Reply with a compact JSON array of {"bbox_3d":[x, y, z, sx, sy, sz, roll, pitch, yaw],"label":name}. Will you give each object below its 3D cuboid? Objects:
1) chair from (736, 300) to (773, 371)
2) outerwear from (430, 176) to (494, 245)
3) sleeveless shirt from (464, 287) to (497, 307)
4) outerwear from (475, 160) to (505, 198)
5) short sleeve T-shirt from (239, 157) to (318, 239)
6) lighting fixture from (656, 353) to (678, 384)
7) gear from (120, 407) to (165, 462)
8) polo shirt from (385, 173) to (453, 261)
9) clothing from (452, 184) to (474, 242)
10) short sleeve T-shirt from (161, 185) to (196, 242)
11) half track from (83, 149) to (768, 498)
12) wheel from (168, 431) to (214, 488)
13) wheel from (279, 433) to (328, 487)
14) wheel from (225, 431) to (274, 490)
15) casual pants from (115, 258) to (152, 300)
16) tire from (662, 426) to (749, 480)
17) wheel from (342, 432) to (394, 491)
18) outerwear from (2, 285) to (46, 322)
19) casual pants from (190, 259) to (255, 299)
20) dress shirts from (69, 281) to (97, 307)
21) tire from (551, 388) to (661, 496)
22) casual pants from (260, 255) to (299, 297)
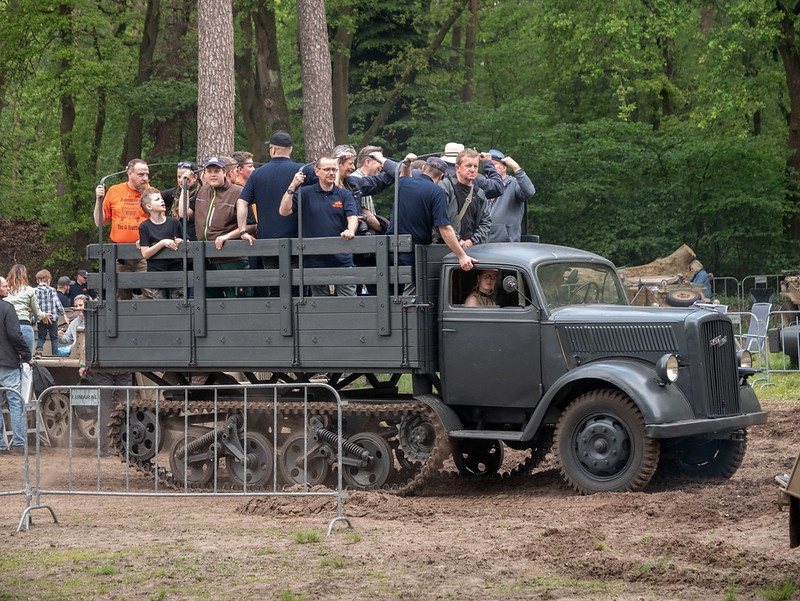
[{"bbox_3d":[7.627,0.801,29.154,0.917,0.998,0.903,-5,1,-16],"label":"chair"},{"bbox_3d":[0.868,-1.349,22.650,0.973,1.063,0.639,3,3,-12],"label":"outerwear"},{"bbox_3d":[1.109,-0.021,21.912,0.415,0.222,0.397,-3,40,-20],"label":"sleeveless shirt"},{"bbox_3d":[1.286,-1.875,23.213,0.230,0.580,0.582,-5,1,11],"label":"outerwear"},{"bbox_3d":[-2.414,-1.399,22.545,1.153,1.478,0.532,-1,-21,3],"label":"short sleeve T-shirt"},{"bbox_3d":[4.108,0.971,21.006,0.454,0.419,0.182,-7,11,-26],"label":"lighting fixture"},{"bbox_3d":[-4.810,2.043,23.069,0.849,1.013,0.265,4,3,8],"label":"gear"},{"bbox_3d":[0.104,-1.180,21.980,1.072,1.188,0.541,7,13,21],"label":"polo shirt"},{"bbox_3d":[0.852,-1.314,22.467,0.198,0.810,0.443,3,-2,22],"label":"clothing"},{"bbox_3d":[-4.271,-1.364,23.689,0.839,0.870,0.328,4,-6,-5],"label":"short sleeve T-shirt"},{"bbox_3d":[-0.162,0.445,23.478,10.711,5.318,5.014,-1,0,25],"label":"half track"},{"bbox_3d":[-3.886,2.443,22.853,0.820,0.979,0.218,2,6,14],"label":"wheel"},{"bbox_3d":[-1.860,2.376,22.296,0.813,0.846,0.290,1,3,20],"label":"wheel"},{"bbox_3d":[-2.854,2.418,22.570,0.917,1.010,0.434,0,3,21],"label":"wheel"},{"bbox_3d":[-5.203,-0.349,23.342,0.548,0.598,0.925,6,3,-3],"label":"casual pants"},{"bbox_3d":[4.834,2.228,21.817,1.373,0.699,0.741,0,10,10],"label":"tire"},{"bbox_3d":[-0.775,2.378,22.076,0.757,0.904,0.234,5,7,27],"label":"wheel"},{"bbox_3d":[-7.877,0.082,26.455,0.909,0.876,0.538,-6,0,-8],"label":"outerwear"},{"bbox_3d":[-3.218,-0.281,22.756,1.003,0.736,0.575,1,-19,-19],"label":"casual pants"},{"bbox_3d":[-7.125,-0.101,27.960,0.465,0.786,0.233,-4,-7,-33],"label":"dress shirts"},{"bbox_3d":[3.133,1.973,21.039,1.435,1.573,0.553,-2,-4,18],"label":"tire"},{"bbox_3d":[-2.423,-0.328,22.415,0.627,0.611,0.149,-2,-14,13],"label":"casual pants"}]
